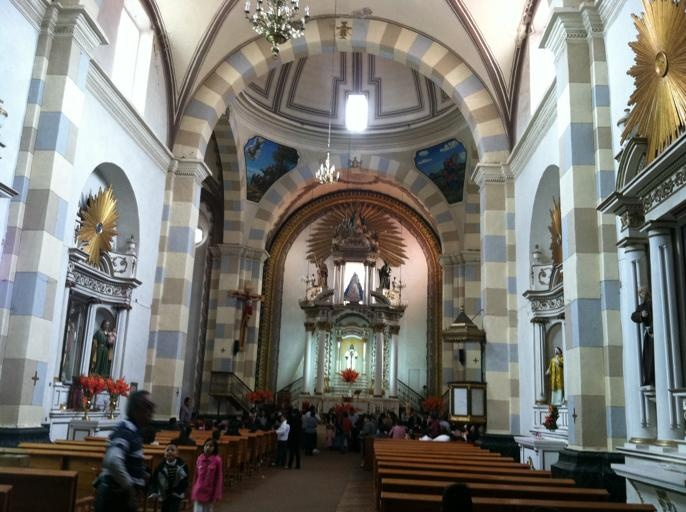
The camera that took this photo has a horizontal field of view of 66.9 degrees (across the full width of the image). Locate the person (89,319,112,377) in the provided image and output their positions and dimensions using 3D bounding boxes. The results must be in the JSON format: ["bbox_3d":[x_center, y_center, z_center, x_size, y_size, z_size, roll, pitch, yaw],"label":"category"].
[{"bbox_3d":[-4.550,1.770,9.869,0.390,1.088,0.252,7,-17,-26],"label":"person"}]

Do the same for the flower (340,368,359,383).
[{"bbox_3d":[0.279,4.746,20.310,0.513,0.517,0.553,2,-15,-6],"label":"flower"}]

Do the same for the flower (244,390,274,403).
[{"bbox_3d":[-2.625,4.490,16.456,0.658,0.435,0.703,1,-14,-1],"label":"flower"}]

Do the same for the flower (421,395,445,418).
[{"bbox_3d":[2.956,4.887,16.858,0.760,0.906,0.844,3,-9,-4],"label":"flower"}]

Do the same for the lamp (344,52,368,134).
[{"bbox_3d":[0.478,-5.228,17.466,0.816,1.691,1.496,-1,-16,2],"label":"lamp"}]

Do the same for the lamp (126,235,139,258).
[{"bbox_3d":[-4.286,-0.181,10.589,0.204,0.497,0.219,5,-17,-19],"label":"lamp"}]

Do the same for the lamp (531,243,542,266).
[{"bbox_3d":[3.804,-0.007,10.086,0.220,0.480,0.250,-7,-17,22],"label":"lamp"}]

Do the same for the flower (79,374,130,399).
[{"bbox_3d":[-4.247,2.293,9.145,0.545,0.337,0.536,6,-11,-2],"label":"flower"}]

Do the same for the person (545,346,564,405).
[{"bbox_3d":[3.834,2.162,9.320,0.261,1.012,0.708,-5,-17,16],"label":"person"}]
